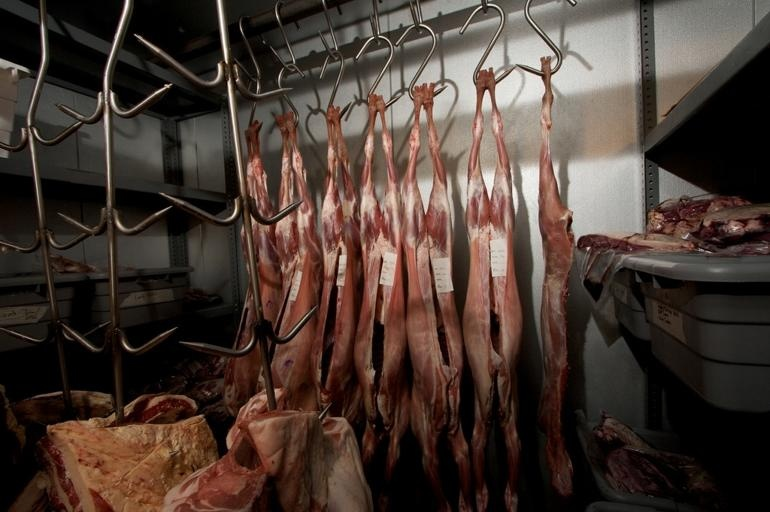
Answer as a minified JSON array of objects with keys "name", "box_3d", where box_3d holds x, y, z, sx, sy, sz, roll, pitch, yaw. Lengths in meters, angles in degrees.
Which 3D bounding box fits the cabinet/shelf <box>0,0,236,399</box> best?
[{"name":"cabinet/shelf","box_3d":[-1.353,-0.283,2.744,0.572,2.140,1.796,-4,4,-44]}]
